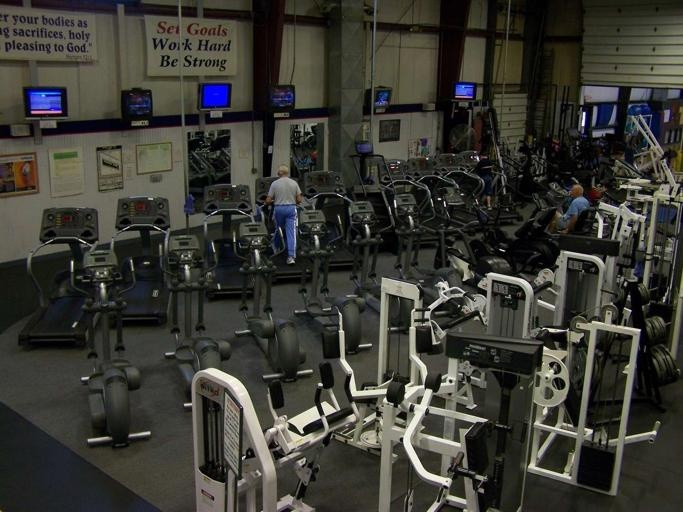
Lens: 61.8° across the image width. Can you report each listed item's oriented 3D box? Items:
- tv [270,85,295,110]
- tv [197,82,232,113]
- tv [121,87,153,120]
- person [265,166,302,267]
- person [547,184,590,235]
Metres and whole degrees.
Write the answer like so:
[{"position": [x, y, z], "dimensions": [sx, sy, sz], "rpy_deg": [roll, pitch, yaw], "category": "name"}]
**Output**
[{"position": [-1.176, -3.100, 11.058], "dimensions": [0.400, 0.374, 0.207], "rpy_deg": [-10, 27, -35], "category": "tv"}, {"position": [-2.294, -2.890, 10.326], "dimensions": [0.613, 0.478, 0.366], "rpy_deg": [-8, 10, -24], "category": "tv"}, {"position": [-3.377, -2.500, 9.330], "dimensions": [0.487, 0.543, 0.302], "rpy_deg": [-8, 13, -44], "category": "tv"}, {"position": [-0.981, -0.697, 9.559], "dimensions": [0.481, 1.586, 0.623], "rpy_deg": [-1, 12, -8], "category": "person"}, {"position": [4.249, -0.892, 10.678], "dimensions": [0.618, 0.959, 0.474], "rpy_deg": [22, 24, 41], "category": "person"}]
